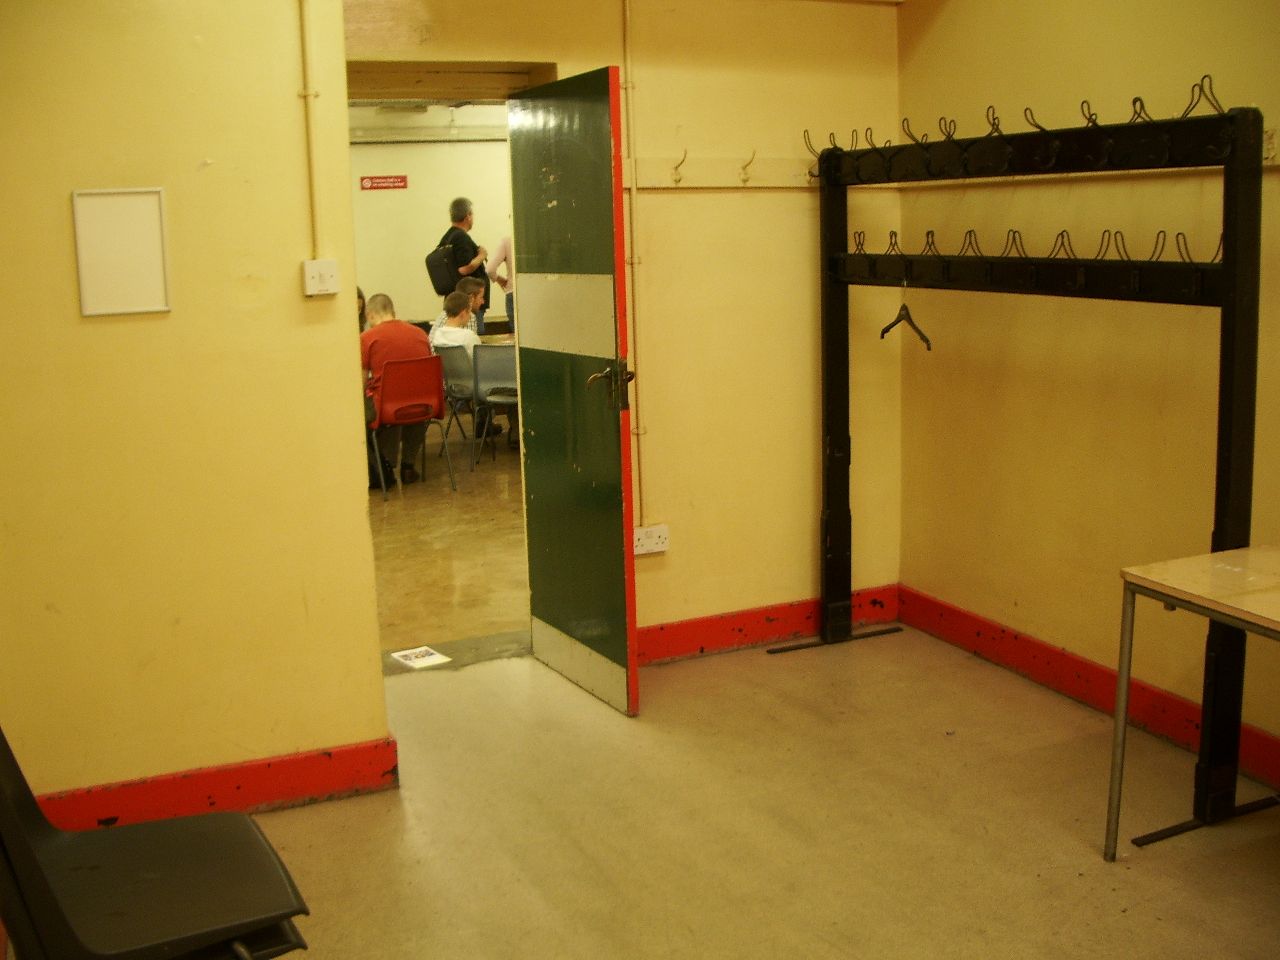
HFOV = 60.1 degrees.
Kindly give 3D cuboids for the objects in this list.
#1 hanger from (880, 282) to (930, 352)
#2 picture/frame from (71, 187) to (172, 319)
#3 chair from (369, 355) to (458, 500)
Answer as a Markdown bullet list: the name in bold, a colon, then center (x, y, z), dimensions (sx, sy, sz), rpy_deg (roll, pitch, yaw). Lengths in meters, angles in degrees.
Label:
- **hanger**: center (1.262, -0.786, 5.262), dimensions (0.296, 0.218, 0.024), rpy_deg (-2, 6, -4)
- **picture/frame**: center (-1.747, -0.748, 3.707), dimensions (0.042, 0.420, 0.297), rpy_deg (29, 32, 37)
- **chair**: center (-1.747, -0.392, 8.333), dimensions (0.651, 1.198, 0.747), rpy_deg (-8, 34, -15)
